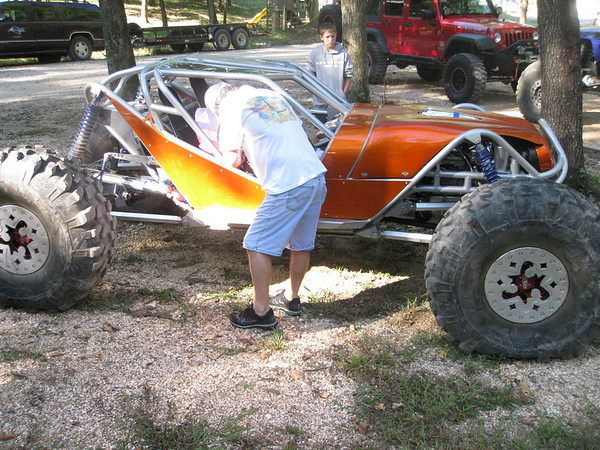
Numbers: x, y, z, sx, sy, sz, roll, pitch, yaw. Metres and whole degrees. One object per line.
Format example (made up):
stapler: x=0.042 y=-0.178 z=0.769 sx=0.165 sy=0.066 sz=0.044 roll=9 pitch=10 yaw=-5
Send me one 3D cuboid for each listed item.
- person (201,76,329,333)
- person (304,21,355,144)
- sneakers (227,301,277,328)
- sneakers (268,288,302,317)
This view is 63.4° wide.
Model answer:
person: x=-0.234 y=-0.126 z=3.922 sx=0.879 sy=1.955 sz=0.568 roll=0 pitch=20 yaw=4
person: x=0.464 y=-1.968 z=7.339 sx=0.689 sy=1.981 sz=0.594 roll=-3 pitch=33 yaw=-1
sneakers: x=-0.396 y=0.770 z=4.123 sx=0.416 sy=0.177 sz=0.170 roll=3 pitch=14 yaw=4
sneakers: x=-0.139 y=0.672 z=4.314 sx=0.351 sy=0.153 sz=0.145 roll=15 pitch=16 yaw=30
